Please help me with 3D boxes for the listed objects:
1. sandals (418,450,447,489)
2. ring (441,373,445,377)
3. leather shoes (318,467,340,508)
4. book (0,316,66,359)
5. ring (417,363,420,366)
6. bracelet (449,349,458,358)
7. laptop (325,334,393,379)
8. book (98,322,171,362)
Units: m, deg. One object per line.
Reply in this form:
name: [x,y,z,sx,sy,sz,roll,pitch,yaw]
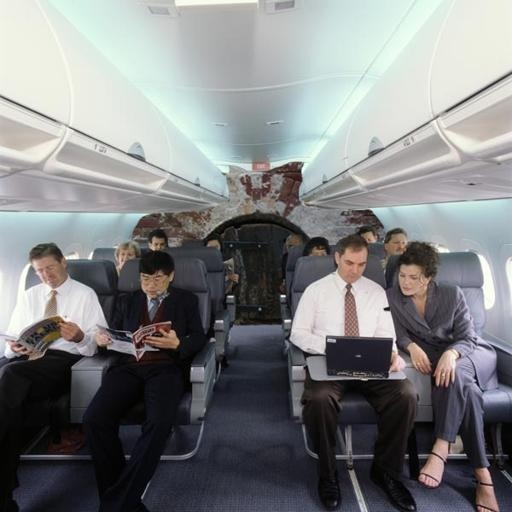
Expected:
sandals: [1.104,1.299,2.415,0.105,0.108,0.308,4,11,27]
ring: [1.207,0.752,2.445,0.021,0.028,0.008,-1,-3,24]
leather shoes: [0.451,1.416,2.316,0.140,0.158,0.143,0,-3,4]
book: [-1.406,0.510,2.465,0.377,0.134,0.354,-27,-14,-1]
ring: [1.115,0.736,2.611,0.005,0.018,0.019,7,-11,-35]
bracelet: [1.345,0.653,2.588,0.048,0.042,0.047,-1,2,-21]
laptop: [0.613,0.600,2.254,0.376,0.265,0.248,0,5,8]
book: [-0.765,0.526,2.413,0.424,0.230,0.189,1,-3,-13]
